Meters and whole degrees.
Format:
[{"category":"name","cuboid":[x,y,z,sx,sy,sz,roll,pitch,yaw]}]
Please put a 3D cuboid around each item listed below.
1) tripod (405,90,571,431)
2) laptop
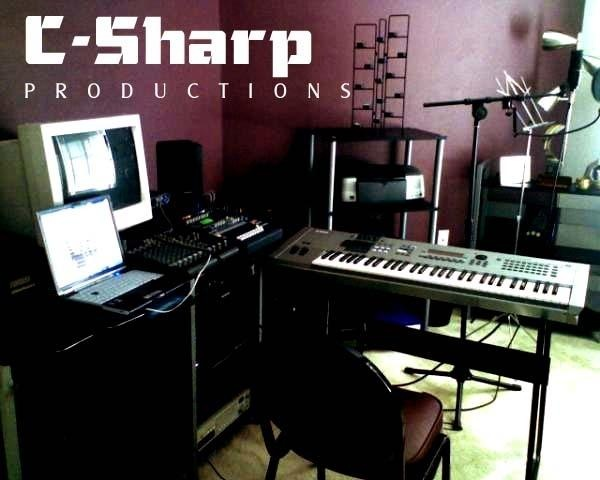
[{"category":"tripod","cuboid":[1.183,-0.033,3.452,0.881,1.786,1.737,5,17,27]},{"category":"laptop","cuboid":[-0.752,0.064,2.146,0.454,0.412,0.389,6,17,27]}]
